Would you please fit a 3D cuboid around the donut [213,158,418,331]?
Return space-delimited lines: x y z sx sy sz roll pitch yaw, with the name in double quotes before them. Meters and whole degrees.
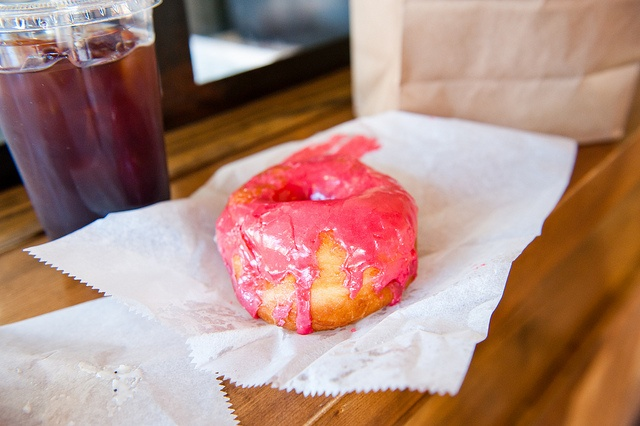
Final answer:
"donut" 0.002 0.064 0.901 0.297 0.179 0.310 -8 33 -3
